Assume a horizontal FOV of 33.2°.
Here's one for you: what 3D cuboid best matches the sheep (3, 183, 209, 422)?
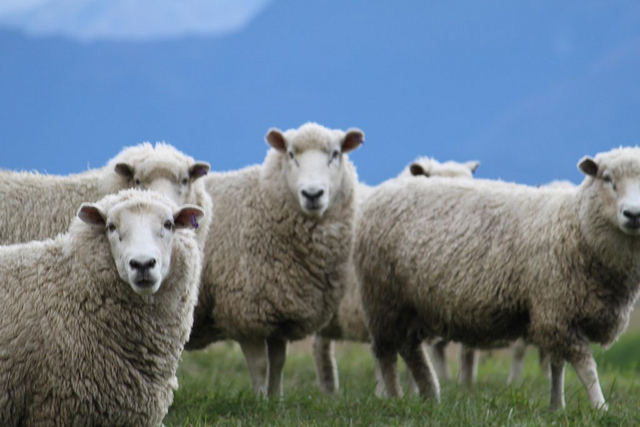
[{"bbox_3d":[-2.219,0.951,10.954,1.935,2.339,0.741,-3,-8,4],"label":"sheep"}]

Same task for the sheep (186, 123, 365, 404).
[{"bbox_3d":[-0.814,0.750,13.764,1.638,3.339,4.388,3,-3,-31],"label":"sheep"}]
